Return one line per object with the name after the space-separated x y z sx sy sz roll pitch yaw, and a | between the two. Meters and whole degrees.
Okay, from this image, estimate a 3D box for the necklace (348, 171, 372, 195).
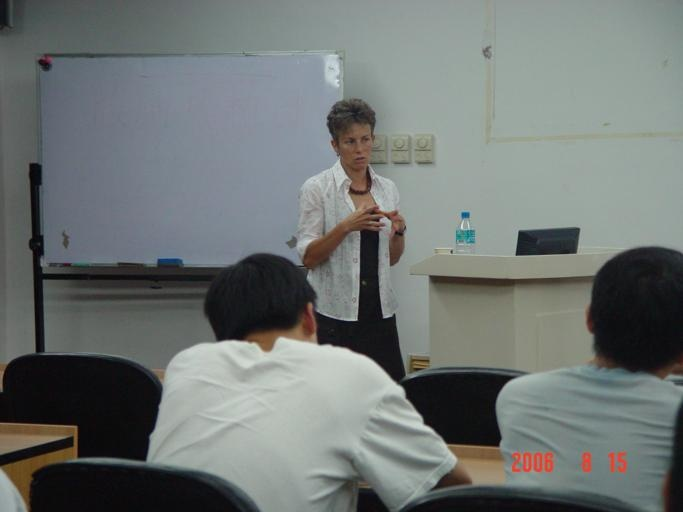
0.094 -0.306 2.806 0.076 0.029 0.100 2 46 7 | necklace

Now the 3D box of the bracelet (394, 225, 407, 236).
0.251 -0.108 2.778 0.069 0.044 0.098 -3 0 -3 | bracelet

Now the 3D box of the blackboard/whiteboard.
-0.856 -0.583 3.800 1.278 0.973 0.049 -1 4 1 | blackboard/whiteboard
